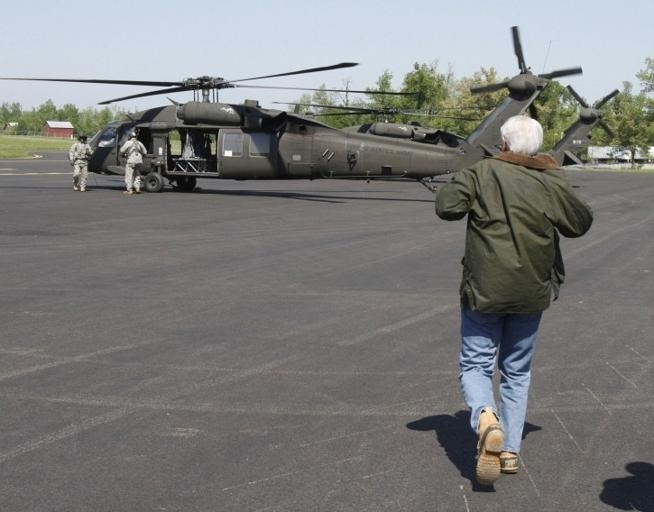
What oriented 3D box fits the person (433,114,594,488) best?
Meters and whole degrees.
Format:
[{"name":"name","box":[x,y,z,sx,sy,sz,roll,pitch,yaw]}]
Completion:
[{"name":"person","box":[1.232,0.259,4.585,0.880,2.325,0.762,-4,12,-22]}]

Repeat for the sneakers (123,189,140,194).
[{"name":"sneakers","box":[-7.062,-2.283,25.128,0.370,0.112,0.270,-1,3,7]}]

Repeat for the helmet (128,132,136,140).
[{"name":"helmet","box":[-6.940,-4.261,24.862,0.262,0.257,0.195,-5,8,-12]}]

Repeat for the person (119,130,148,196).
[{"name":"person","box":[-6.942,-3.356,25.168,0.858,2.200,1.137,-3,12,-15]}]
